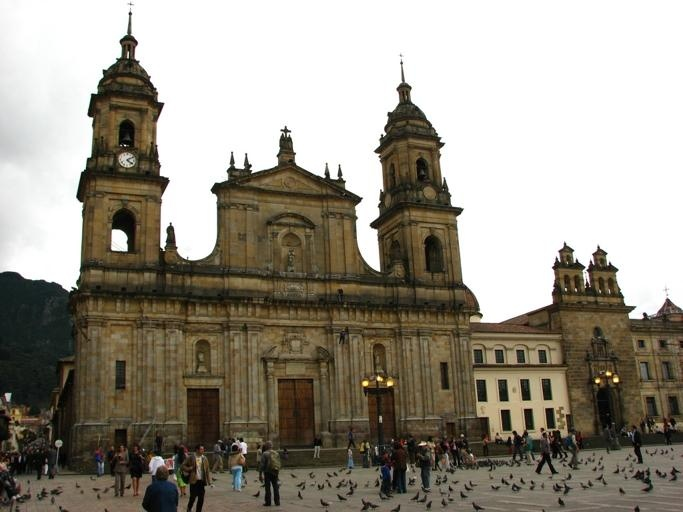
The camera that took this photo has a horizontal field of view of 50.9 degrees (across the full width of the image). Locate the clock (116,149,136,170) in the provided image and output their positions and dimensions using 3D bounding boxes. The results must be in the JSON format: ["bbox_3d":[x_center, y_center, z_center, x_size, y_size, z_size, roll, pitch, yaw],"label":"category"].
[{"bbox_3d":[-15.625,-7.013,51.841,1.436,1.439,0.144,-8,-7,-37],"label":"clock"}]
